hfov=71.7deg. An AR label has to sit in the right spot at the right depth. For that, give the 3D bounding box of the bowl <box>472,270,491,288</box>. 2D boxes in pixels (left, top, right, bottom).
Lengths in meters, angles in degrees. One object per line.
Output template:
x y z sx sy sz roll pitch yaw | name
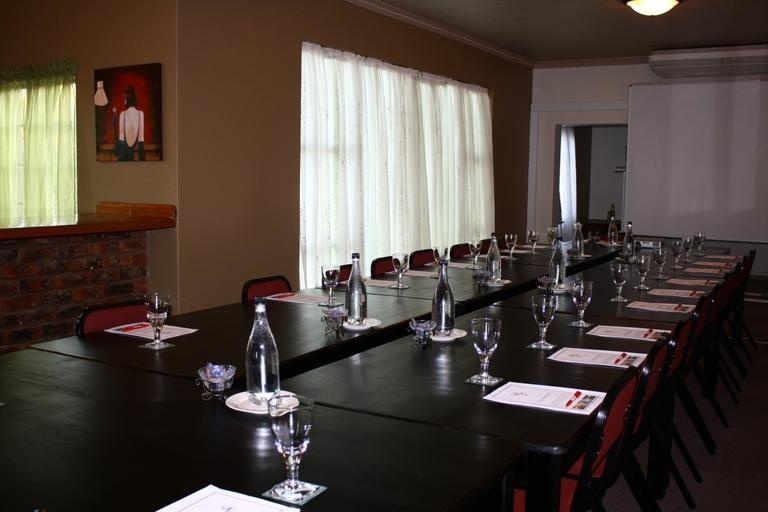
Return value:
0.739 0.172 4.025 0.110 0.112 0.126 0 2 -16 | bowl

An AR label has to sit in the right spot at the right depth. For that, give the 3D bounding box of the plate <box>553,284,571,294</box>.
1.269 0.234 3.802 0.091 0.024 0.101 2 8 33 | plate

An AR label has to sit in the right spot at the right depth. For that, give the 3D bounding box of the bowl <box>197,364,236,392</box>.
-0.648 0.463 2.080 0.109 0.063 0.113 2 6 0 | bowl

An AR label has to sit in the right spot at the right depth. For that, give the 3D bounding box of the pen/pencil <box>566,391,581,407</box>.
0.707 0.529 1.979 0.029 0.015 0.131 6 10 28 | pen/pencil

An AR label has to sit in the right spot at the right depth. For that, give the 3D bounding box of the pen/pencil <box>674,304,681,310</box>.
1.856 0.320 3.359 0.029 0.021 0.096 1 18 35 | pen/pencil

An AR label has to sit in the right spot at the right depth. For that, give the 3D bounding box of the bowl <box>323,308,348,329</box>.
-0.264 0.333 2.876 0.102 0.105 0.105 0 0 0 | bowl

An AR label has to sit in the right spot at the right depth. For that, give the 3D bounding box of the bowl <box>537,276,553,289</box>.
1.049 0.169 3.464 0.094 0.072 0.097 0 5 0 | bowl

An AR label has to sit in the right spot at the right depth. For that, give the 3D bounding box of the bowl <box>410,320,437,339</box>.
0.195 0.368 2.691 0.080 0.070 0.099 0 -2 -1 | bowl
